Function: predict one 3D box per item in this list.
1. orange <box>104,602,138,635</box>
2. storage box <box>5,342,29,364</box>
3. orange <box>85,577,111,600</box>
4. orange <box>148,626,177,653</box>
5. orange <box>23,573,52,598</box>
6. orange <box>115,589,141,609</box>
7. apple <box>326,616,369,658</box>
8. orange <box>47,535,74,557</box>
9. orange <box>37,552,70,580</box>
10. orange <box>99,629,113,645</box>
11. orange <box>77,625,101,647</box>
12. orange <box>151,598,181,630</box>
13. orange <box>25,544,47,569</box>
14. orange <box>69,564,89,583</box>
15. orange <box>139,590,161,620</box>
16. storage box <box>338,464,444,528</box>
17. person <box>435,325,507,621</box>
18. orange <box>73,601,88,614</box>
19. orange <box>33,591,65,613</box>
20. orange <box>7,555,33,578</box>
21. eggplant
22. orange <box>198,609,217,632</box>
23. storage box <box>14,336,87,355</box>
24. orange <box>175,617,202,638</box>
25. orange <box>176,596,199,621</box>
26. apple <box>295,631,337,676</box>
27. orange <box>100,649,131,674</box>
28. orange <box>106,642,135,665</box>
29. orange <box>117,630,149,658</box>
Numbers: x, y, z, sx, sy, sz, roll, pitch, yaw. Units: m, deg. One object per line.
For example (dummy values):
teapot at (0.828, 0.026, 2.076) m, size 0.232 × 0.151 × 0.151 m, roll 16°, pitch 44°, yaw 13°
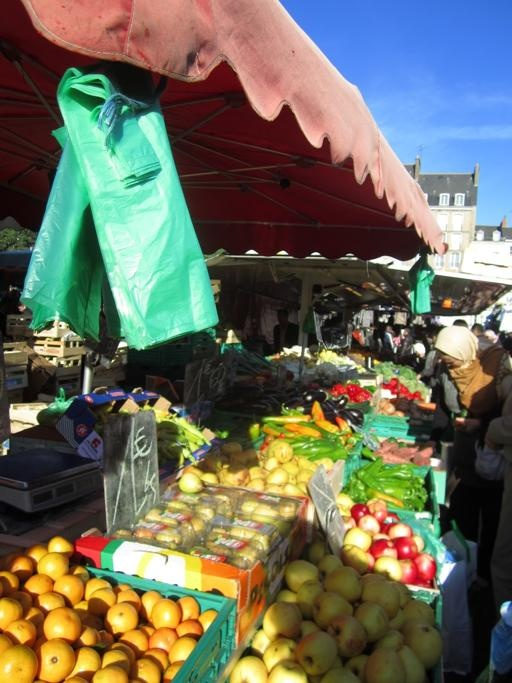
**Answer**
orange at (-0.422, 0.861, 1.583) m, size 0.086 × 0.077 × 0.095 m, roll 3°, pitch 34°, yaw -14°
storage box at (-3.304, 0.140, 6.963) m, size 0.306 × 0.277 × 0.412 m, roll -2°, pitch 6°, yaw -34°
orange at (-0.534, 0.818, 1.701) m, size 0.063 × 0.073 × 0.064 m, roll 12°, pitch -17°, yaw 1°
orange at (-0.286, 0.913, 1.556) m, size 0.074 × 0.064 × 0.070 m, roll 7°, pitch 41°, yaw -1°
orange at (-0.706, 0.786, 1.641) m, size 0.065 × 0.058 × 0.071 m, roll 3°, pitch 3°, yaw -3°
orange at (-0.425, 0.843, 1.674) m, size 0.056 × 0.061 × 0.055 m, roll -4°, pitch -1°, yaw -4°
apple at (0.317, 1.033, 1.845) m, size 0.122 × 0.097 × 0.100 m, roll 3°, pitch 19°, yaw -47°
orange at (-0.712, 0.735, 1.829) m, size 0.050 × 0.049 × 0.061 m, roll -37°, pitch -18°, yaw -10°
orange at (-0.683, 0.749, 1.705) m, size 0.079 × 0.090 × 0.082 m, roll 10°, pitch -36°, yaw 8°
orange at (-0.459, 0.895, 1.536) m, size 0.035 × 0.039 × 0.034 m, roll -12°, pitch -26°, yaw 19°
orange at (-0.489, 0.859, 1.485) m, size 0.047 × 0.055 × 0.047 m, roll 13°, pitch -40°, yaw -3°
orange at (-0.283, 0.860, 1.598) m, size 0.088 × 0.103 × 0.087 m, roll 4°, pitch -43°, yaw -12°
orange at (-0.774, 0.751, 1.780) m, size 0.057 × 0.066 × 0.056 m, roll -30°, pitch -25°, yaw -16°
orange at (-0.610, 0.795, 1.752) m, size 0.050 × 0.047 × 0.057 m, roll -14°, pitch 38°, yaw 8°
orange at (-0.356, 0.869, 1.692) m, size 0.080 × 0.088 × 0.076 m, roll 2°, pitch -7°, yaw 3°
storage box at (1.005, 1.223, 3.835) m, size 0.619 × 0.261 × 0.590 m, roll 8°, pitch 31°, yaw 4°
person at (1.754, 0.915, 3.949) m, size 0.803 × 1.988 × 0.813 m, roll 0°, pitch 1°, yaw 12°
orange at (-0.571, 0.860, 1.644) m, size 0.025 × 0.028 × 0.024 m, roll -6°, pitch -41°, yaw 13°
orange at (-0.642, 0.803, 1.567) m, size 0.066 × 0.061 × 0.061 m, roll 24°, pitch 27°, yaw -4°
orange at (-0.794, 0.758, 1.713) m, size 0.064 × 0.069 × 0.065 m, roll 1°, pitch -2°, yaw 2°
eggplant at (0.771, 0.650, 5.088) m, size 0.369 × 0.237 × 0.753 m, roll 29°, pitch 12°, yaw 26°
orange at (-0.155, 0.866, 1.587) m, size 0.064 × 0.069 × 0.061 m, roll 2°, pitch 0°, yaw 3°
storage box at (-3.011, 0.054, 7.563) m, size 1.067 × 0.235 × 0.915 m, roll 2°, pitch 2°, yaw 6°
orange at (-0.206, 0.877, 1.569) m, size 0.048 × 0.046 × 0.058 m, roll -38°, pitch -15°, yaw 9°
orange at (-0.216, 0.851, 1.624) m, size 0.058 × 0.064 × 0.055 m, roll -12°, pitch 20°, yaw 7°
apple at (0.209, 1.039, 1.753) m, size 0.128 × 0.119 × 0.166 m, roll -11°, pitch -1°, yaw 29°
orange at (-0.389, 0.882, 1.413) m, size 0.061 × 0.059 × 0.071 m, roll -5°, pitch 28°, yaw -3°
orange at (-0.392, 0.886, 1.451) m, size 0.064 × 0.052 × 0.072 m, roll -12°, pitch -4°, yaw 8°
orange at (-0.376, 0.919, 1.561) m, size 0.070 × 0.076 × 0.067 m, roll -2°, pitch 5°, yaw 4°
